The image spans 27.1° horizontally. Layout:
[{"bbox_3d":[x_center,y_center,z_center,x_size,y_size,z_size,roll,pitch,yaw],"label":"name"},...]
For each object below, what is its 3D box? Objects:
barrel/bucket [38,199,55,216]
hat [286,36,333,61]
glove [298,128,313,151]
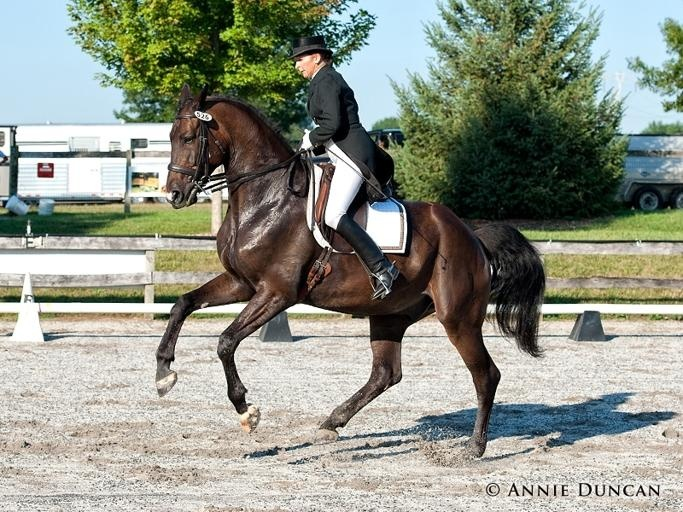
[{"bbox_3d":[-8.625,-1.431,41.665,0.533,0.522,0.552,3,-3,0],"label":"barrel/bucket"},{"bbox_3d":[-0.461,-3.056,20.741,0.731,0.286,0.618,-8,6,5],"label":"hat"},{"bbox_3d":[-0.509,-1.693,20.588,0.095,0.279,0.203,9,2,-2],"label":"glove"}]
